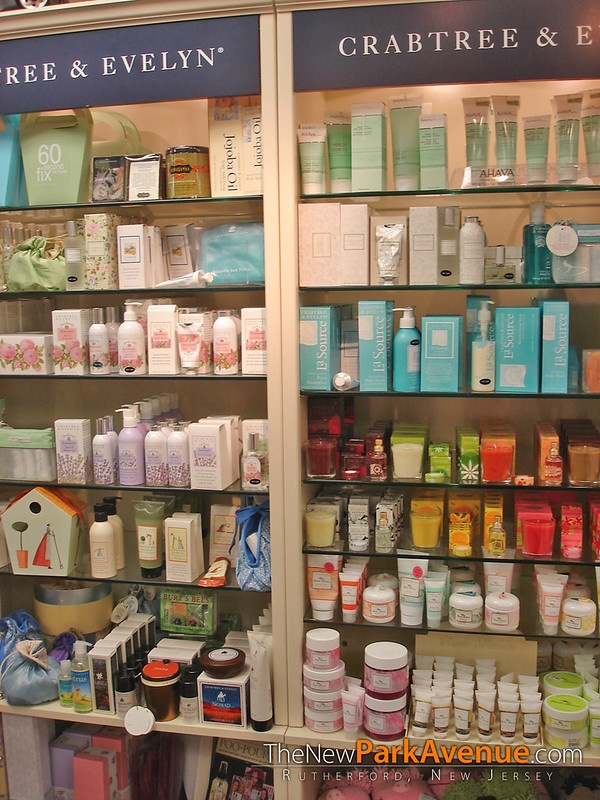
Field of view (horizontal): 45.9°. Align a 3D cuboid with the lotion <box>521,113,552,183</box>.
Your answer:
[{"bbox_3d":[0.552,-0.582,1.649,0.055,0.151,0.096,-2,4,17],"label":"lotion"}]

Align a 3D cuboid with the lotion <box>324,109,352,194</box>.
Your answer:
[{"bbox_3d":[0.100,-0.620,1.781,0.060,0.185,0.046,-3,4,4],"label":"lotion"}]

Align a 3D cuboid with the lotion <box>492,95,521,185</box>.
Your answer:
[{"bbox_3d":[0.484,-0.605,1.661,0.058,0.185,0.139,-2,5,17],"label":"lotion"}]

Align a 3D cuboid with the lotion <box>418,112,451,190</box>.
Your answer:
[{"bbox_3d":[0.322,-0.592,1.706,0.064,0.175,0.066,-2,4,8],"label":"lotion"}]

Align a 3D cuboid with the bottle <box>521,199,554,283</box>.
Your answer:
[{"bbox_3d":[0.582,-0.382,1.740,0.066,0.199,0.120,-2,4,17],"label":"bottle"}]

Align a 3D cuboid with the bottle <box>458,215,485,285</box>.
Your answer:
[{"bbox_3d":[0.421,-0.364,1.735,0.062,0.167,0.035,-2,4,10],"label":"bottle"}]

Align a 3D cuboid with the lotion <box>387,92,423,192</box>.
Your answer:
[{"bbox_3d":[0.262,-0.623,1.736,0.077,0.219,0.078,-2,4,6],"label":"lotion"}]

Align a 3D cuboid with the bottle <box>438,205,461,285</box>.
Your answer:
[{"bbox_3d":[0.366,-0.375,1.732,0.054,0.184,0.049,-3,4,0],"label":"bottle"}]

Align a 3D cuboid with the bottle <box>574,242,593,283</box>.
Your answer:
[{"bbox_3d":[0.675,-0.325,1.685,0.040,0.090,0.014,-2,4,7],"label":"bottle"}]

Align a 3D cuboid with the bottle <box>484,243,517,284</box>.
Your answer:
[{"bbox_3d":[0.498,-0.335,1.747,0.096,0.087,0.090,0,4,4],"label":"bottle"}]

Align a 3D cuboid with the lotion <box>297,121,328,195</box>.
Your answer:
[{"bbox_3d":[0.035,-0.605,1.807,0.073,0.172,0.098,-3,4,1],"label":"lotion"}]

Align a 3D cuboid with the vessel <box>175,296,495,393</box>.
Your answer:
[{"bbox_3d":[0.256,-0.139,1.870,0.498,0.245,0.202,-2,5,12],"label":"vessel"}]

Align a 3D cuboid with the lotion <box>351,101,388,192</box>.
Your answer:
[{"bbox_3d":[0.167,-0.618,1.743,0.082,0.205,0.054,-2,4,5],"label":"lotion"}]

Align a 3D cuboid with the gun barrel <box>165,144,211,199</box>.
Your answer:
[{"bbox_3d":[-0.316,-0.621,1.935,0.133,0.139,0.133,5,14,24],"label":"gun barrel"}]

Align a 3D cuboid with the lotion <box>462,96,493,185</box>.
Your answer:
[{"bbox_3d":[0.419,-0.604,1.660,0.061,0.193,0.070,-2,4,14],"label":"lotion"}]
